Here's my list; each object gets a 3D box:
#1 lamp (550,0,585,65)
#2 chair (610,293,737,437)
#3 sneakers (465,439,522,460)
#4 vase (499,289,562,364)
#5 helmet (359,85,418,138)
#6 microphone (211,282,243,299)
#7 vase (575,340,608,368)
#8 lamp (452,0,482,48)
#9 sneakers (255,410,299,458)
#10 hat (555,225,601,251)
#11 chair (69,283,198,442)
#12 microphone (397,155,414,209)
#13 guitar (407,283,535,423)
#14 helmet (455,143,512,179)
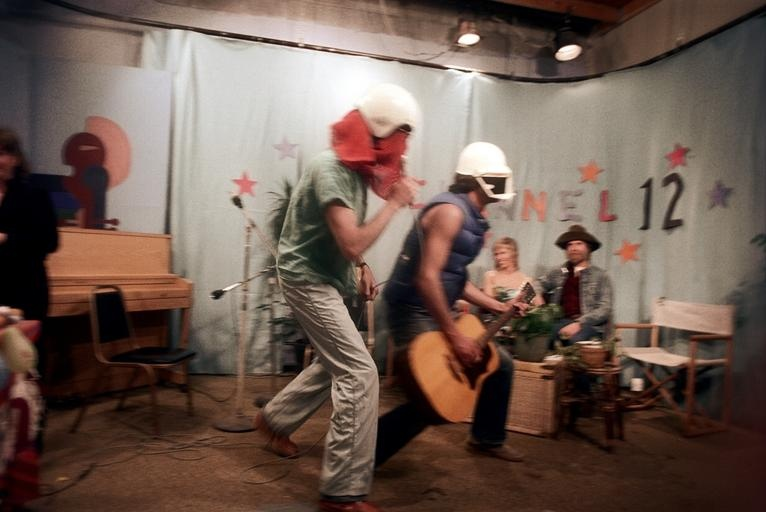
[{"bbox_3d":[1.306,-1.547,3.970,0.183,0.384,0.330,4,6,17],"label":"lamp"},{"bbox_3d":[2.086,0.763,4.121,0.568,0.769,0.745,-2,2,-19],"label":"chair"},{"bbox_3d":[0.678,1.179,3.473,0.325,0.102,0.107,4,-4,4],"label":"sneakers"},{"bbox_3d":[0.978,0.480,3.748,0.517,0.386,0.452,0,-4,-24],"label":"vase"},{"bbox_3d":[0.020,-0.750,2.996,0.340,0.224,0.238,-9,6,15],"label":"helmet"},{"bbox_3d":[-1.118,0.250,4.065,0.206,0.045,0.039,-30,15,-4],"label":"microphone"},{"bbox_3d":[1.362,0.642,3.742,0.194,0.124,0.177,1,1,17],"label":"vase"},{"bbox_3d":[0.593,-1.560,3.844,0.124,0.312,0.343,4,6,19],"label":"lamp"},{"bbox_3d":[-0.616,1.038,3.302,0.324,0.106,0.227,28,-17,-28],"label":"sneakers"},{"bbox_3d":[1.519,-0.148,4.385,0.231,0.117,0.286,9,-9,17],"label":"hat"},{"bbox_3d":[-1.677,0.648,3.890,0.764,0.822,0.576,4,5,13],"label":"chair"},{"bbox_3d":[0.111,-0.385,2.932,0.070,0.238,0.131,0,-1,-11],"label":"microphone"},{"bbox_3d":[0.455,0.533,3.190,1.020,0.482,0.147,-40,3,-34],"label":"guitar"},{"bbox_3d":[0.606,-0.575,3.400,0.310,0.131,0.207,3,6,18],"label":"helmet"}]
